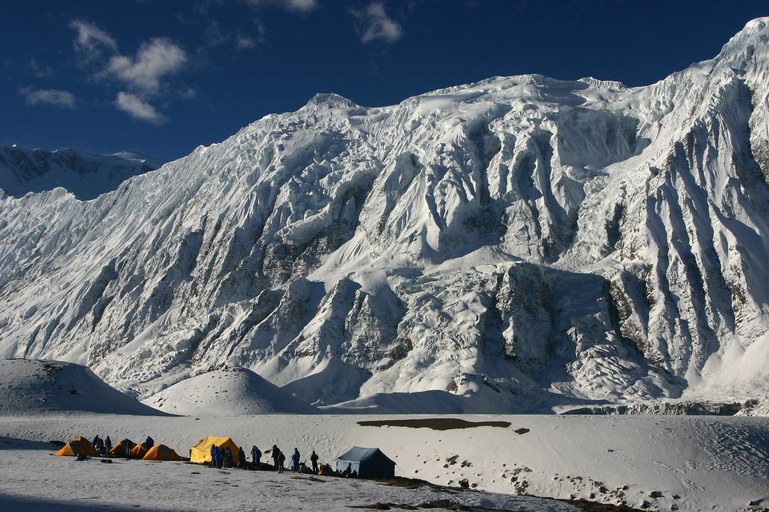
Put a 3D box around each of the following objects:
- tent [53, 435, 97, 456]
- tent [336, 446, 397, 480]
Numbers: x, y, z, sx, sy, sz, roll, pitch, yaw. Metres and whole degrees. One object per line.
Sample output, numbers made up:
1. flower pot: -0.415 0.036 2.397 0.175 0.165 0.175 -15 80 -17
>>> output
1. tent: -44.097 27.641 169.596 3.896 1.608 3.275 2 -6 -40
2. tent: -2.658 30.471 172.010 5.175 3.543 6.088 8 -12 -35
